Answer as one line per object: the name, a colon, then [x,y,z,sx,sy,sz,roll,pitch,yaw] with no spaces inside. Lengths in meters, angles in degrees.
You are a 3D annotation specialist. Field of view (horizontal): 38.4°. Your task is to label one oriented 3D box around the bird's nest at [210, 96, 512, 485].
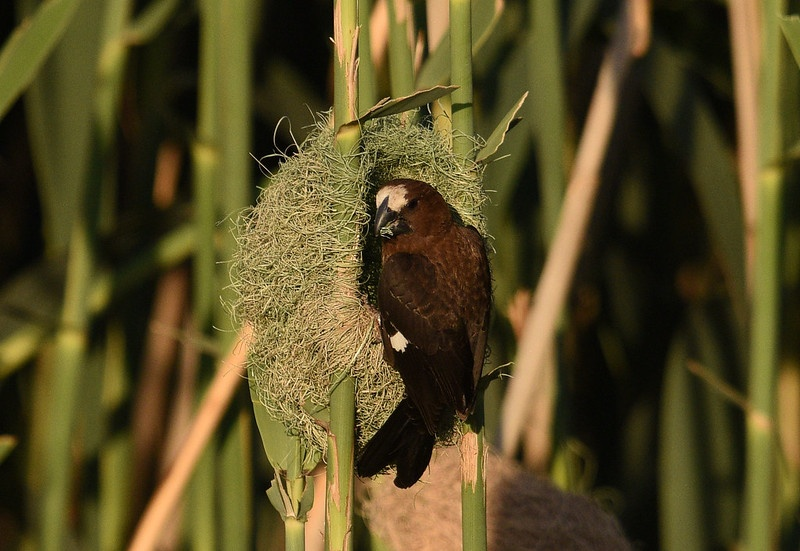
bird's nest: [-0.180,-0.019,4.101,1.085,1.353,0.391,7,-1,-41]
